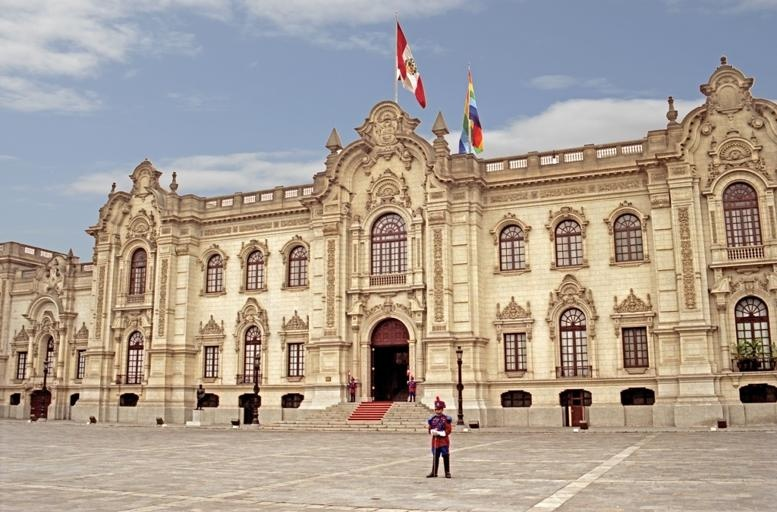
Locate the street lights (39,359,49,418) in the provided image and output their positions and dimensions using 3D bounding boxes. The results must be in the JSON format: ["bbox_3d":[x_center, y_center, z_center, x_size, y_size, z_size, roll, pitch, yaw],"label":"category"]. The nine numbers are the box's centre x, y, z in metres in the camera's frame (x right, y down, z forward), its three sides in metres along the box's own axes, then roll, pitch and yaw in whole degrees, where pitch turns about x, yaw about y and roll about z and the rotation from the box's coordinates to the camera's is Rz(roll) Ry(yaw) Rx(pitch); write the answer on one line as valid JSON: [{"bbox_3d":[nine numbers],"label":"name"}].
[{"bbox_3d":[-25.789,9.812,62.231,0.565,4.404,0.921,5,-16,-20],"label":"street lights"}]

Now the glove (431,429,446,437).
[{"bbox_3d":[1.768,6.213,29.188,0.481,0.264,0.210,-1,-14,1],"label":"glove"}]

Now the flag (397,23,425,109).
[{"bbox_3d":[1.389,-12.253,53.466,1.620,5.808,1.868,-2,-14,4],"label":"flag"}]

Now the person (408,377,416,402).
[{"bbox_3d":[1.442,8.004,49.835,0.382,1.476,0.778,-2,-14,5],"label":"person"}]

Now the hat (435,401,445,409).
[{"bbox_3d":[1.749,5.383,30.021,0.469,0.296,0.425,-8,-13,34],"label":"hat"}]

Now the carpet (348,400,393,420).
[{"bbox_3d":[-1.114,9.237,49.331,2.515,1.181,2.003,-3,-13,10],"label":"carpet"}]

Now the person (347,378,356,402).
[{"bbox_3d":[-2.257,8.268,51.492,0.567,1.398,0.486,0,-14,-3],"label":"person"}]
